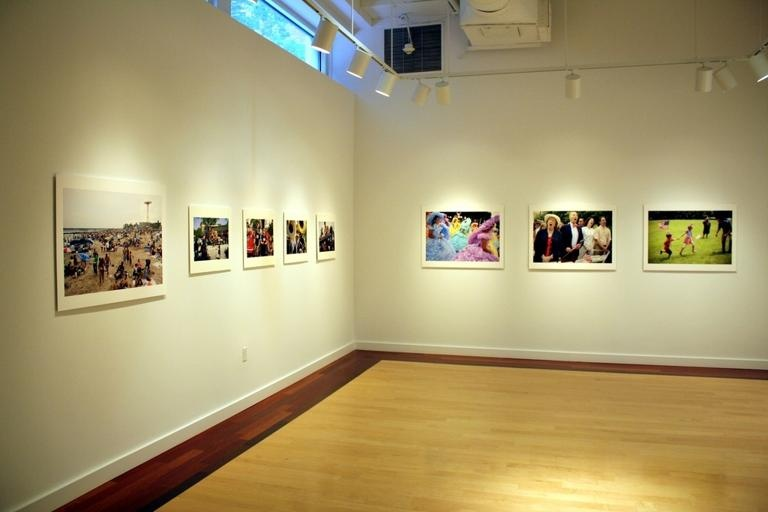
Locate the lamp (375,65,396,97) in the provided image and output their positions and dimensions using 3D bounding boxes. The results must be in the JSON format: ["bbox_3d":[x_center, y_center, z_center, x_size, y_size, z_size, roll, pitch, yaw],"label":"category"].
[{"bbox_3d":[0.052,-2.783,8.452,0.259,0.400,0.327,1,8,6],"label":"lamp"}]

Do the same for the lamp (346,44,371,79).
[{"bbox_3d":[-0.353,-2.786,7.642,0.306,0.374,0.248,-1,8,-4],"label":"lamp"}]

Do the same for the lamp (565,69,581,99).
[{"bbox_3d":[3.000,-2.714,8.448,0.216,0.363,0.325,2,8,14],"label":"lamp"}]

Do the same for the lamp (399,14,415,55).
[{"bbox_3d":[0.444,-4.160,9.968,0.221,0.760,0.362,-3,8,-21],"label":"lamp"}]

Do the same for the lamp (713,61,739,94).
[{"bbox_3d":[5.047,-2.651,7.838,0.231,0.365,0.191,0,8,-2],"label":"lamp"}]

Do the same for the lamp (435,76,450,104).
[{"bbox_3d":[0.972,-2.706,8.760,0.201,0.349,0.240,1,8,6],"label":"lamp"}]

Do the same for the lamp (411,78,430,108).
[{"bbox_3d":[0.631,-2.753,8.973,0.238,0.357,0.215,0,8,3],"label":"lamp"}]

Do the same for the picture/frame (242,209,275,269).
[{"bbox_3d":[-1.824,-0.254,7.616,0.030,0.887,0.851,-1,-1,21],"label":"picture/frame"}]

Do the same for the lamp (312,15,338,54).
[{"bbox_3d":[-0.758,-2.834,6.769,0.328,0.432,0.184,-2,8,-11],"label":"lamp"}]

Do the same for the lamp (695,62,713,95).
[{"bbox_3d":[4.763,-2.657,7.861,0.173,0.404,0.372,6,10,37],"label":"lamp"}]

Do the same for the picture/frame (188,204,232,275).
[{"bbox_3d":[-2.257,-0.212,6.796,0.045,0.969,0.831,3,6,28],"label":"picture/frame"}]
